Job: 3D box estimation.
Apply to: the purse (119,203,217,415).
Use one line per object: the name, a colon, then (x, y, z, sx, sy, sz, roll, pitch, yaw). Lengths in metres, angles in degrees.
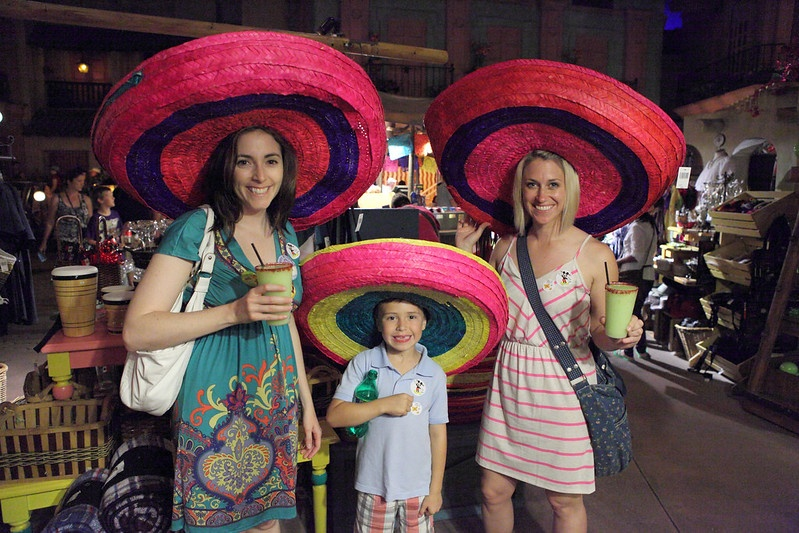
purse: (-1.162, 0.225, 2.886, 0.475, 1.044, 0.251, -2, 4, -23)

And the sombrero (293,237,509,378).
sombrero: (-0.001, 0.251, 3.599, 1.292, 0.303, 1.342, 2, -25, -1)

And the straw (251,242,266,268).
straw: (-0.747, -0.055, 3.019, 0.019, 0.141, 0.028, -28, 25, -25)

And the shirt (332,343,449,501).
shirt: (-0.055, 0.917, 3.437, 0.677, 0.842, 0.360, 4, 1, 13)

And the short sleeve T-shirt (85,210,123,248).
short sleeve T-shirt: (-3.928, -0.561, 7.740, 0.554, 0.527, 0.283, -15, 49, -35)

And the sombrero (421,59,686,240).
sombrero: (1.026, -0.954, 3.657, 1.445, 0.296, 1.227, 25, -42, -5)

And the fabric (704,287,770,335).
fabric: (3.703, 0.504, 6.370, 0.451, 0.264, 0.444, -3, 8, -3)

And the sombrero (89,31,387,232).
sombrero: (-0.782, -0.760, 3.118, 1.259, 0.324, 1.213, 10, -42, -31)

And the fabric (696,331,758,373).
fabric: (3.736, 0.922, 6.531, 0.467, 0.276, 0.475, 0, 8, 39)

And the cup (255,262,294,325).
cup: (-0.618, 0.078, 2.841, 0.169, 0.178, 0.116, -2, 3, -15)

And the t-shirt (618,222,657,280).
t-shirt: (2.861, -0.218, 6.837, 0.404, 0.709, 0.717, 6, 4, 28)

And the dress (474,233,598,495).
dress: (0.857, 0.582, 3.577, 0.736, 1.543, 0.411, 11, 12, 39)
